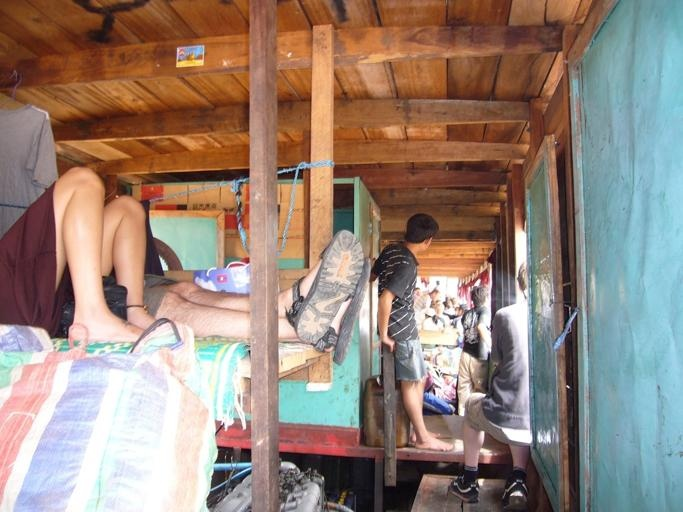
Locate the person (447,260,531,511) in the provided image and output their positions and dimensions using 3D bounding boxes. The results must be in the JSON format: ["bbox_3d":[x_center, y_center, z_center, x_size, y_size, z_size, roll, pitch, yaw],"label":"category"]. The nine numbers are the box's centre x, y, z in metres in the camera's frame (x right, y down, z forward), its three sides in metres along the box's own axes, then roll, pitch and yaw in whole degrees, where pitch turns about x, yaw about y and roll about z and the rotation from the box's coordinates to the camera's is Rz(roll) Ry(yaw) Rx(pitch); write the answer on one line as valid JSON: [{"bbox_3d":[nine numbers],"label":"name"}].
[{"bbox_3d":[1.218,1.020,4.556,0.596,1.916,0.339,-3,-11,20],"label":"person"}]

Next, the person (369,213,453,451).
[{"bbox_3d":[0.636,0.627,5.094,0.686,2.167,0.640,0,-10,4],"label":"person"}]

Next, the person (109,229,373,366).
[{"bbox_3d":[-0.446,0.268,3.262,0.922,0.534,0.917,4,-7,8],"label":"person"}]
